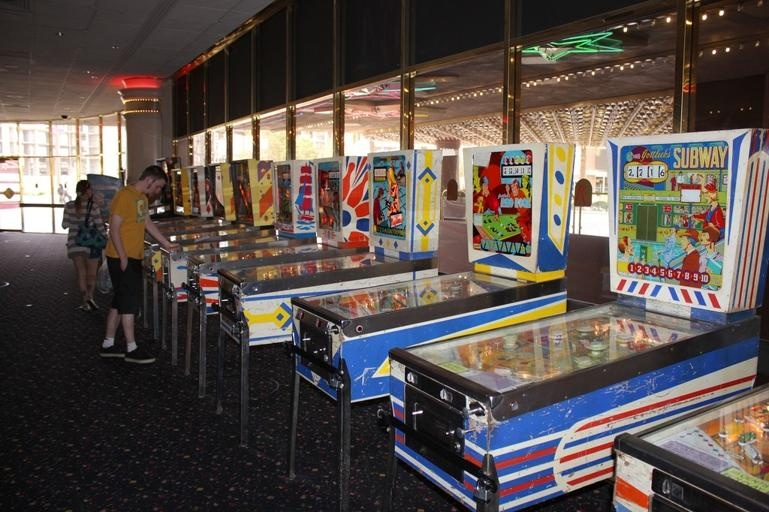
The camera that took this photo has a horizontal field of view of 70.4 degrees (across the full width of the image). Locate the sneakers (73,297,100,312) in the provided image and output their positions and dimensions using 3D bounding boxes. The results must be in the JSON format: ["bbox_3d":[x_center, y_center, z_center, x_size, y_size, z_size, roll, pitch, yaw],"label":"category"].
[{"bbox_3d":[-3.857,0.652,7.154,0.137,0.155,0.370,-1,-4,-38],"label":"sneakers"}]

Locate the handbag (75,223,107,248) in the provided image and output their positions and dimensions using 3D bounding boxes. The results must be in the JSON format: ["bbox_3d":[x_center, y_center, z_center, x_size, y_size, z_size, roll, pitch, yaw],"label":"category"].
[{"bbox_3d":[-3.657,-0.251,6.849,0.321,0.327,0.126,3,-1,-22],"label":"handbag"}]

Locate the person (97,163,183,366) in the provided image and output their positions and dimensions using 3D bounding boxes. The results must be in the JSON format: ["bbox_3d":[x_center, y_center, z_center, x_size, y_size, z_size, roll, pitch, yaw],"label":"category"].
[{"bbox_3d":[-2.428,0.093,5.320,0.525,1.884,0.622,2,10,31],"label":"person"}]

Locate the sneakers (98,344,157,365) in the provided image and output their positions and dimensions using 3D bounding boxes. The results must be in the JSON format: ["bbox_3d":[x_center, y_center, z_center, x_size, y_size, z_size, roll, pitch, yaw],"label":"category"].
[{"bbox_3d":[-2.471,0.927,5.371,0.592,0.211,0.202,5,2,5],"label":"sneakers"}]
